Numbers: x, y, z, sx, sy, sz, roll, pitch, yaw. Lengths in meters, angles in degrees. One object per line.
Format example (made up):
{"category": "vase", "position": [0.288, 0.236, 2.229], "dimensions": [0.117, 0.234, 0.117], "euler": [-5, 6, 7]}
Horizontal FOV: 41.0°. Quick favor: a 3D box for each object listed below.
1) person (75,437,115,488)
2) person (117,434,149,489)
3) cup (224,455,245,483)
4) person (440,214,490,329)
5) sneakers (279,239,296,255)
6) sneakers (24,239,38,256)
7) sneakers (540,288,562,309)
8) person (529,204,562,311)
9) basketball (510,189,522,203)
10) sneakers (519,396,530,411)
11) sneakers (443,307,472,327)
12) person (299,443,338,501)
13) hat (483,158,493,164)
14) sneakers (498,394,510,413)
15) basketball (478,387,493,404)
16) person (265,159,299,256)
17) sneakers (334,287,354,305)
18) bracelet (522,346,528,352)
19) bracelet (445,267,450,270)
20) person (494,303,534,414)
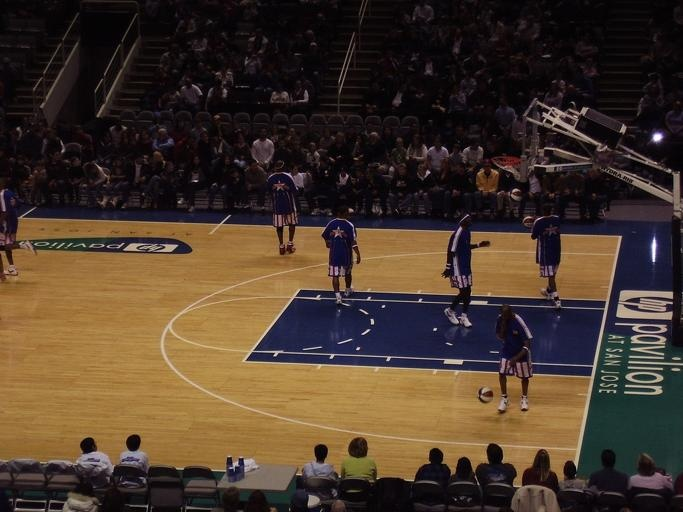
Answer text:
{"category": "person", "position": [-3.183, 2.770, 11.931], "dimensions": [0.447, 0.746, 0.604], "euler": [-12, -13, 11]}
{"category": "person", "position": [-2.703, 2.630, 11.869], "dimensions": [0.431, 0.758, 0.404], "euler": [6, 29, -6]}
{"category": "cup", "position": [-1.373, 2.743, 11.756], "dimensions": [0.294, 0.383, 0.271], "euler": [0, 7, 0]}
{"category": "person", "position": [2.283, 0.314, 17.224], "dimensions": [0.661, 2.079, 1.554], "euler": [2, 0, 9]}
{"category": "sneakers", "position": [-1.278, -0.184, 21.433], "dimensions": [0.179, 0.270, 0.526], "euler": [17, 27, 27]}
{"category": "sneakers", "position": [-6.982, -0.160, 20.559], "dimensions": [0.177, 0.226, 0.523], "euler": [33, -2, -30]}
{"category": "sneakers", "position": [4.169, 0.855, 18.141], "dimensions": [0.189, 0.251, 0.580], "euler": [-3, 28, -4]}
{"category": "person", "position": [4.087, 0.056, 18.108], "dimensions": [0.602, 1.967, 1.404], "euler": [2, 0, 13]}
{"category": "basketball", "position": [4.103, -1.437, 21.386], "dimensions": [0.309, 0.213, 0.414], "euler": [2, 28, -1]}
{"category": "sneakers", "position": [2.857, 2.316, 14.230], "dimensions": [0.096, 0.110, 0.265], "euler": [2, 23, 4]}
{"category": "sneakers", "position": [2.212, 1.226, 17.315], "dimensions": [0.610, 0.262, 0.224], "euler": [19, 46, -2]}
{"category": "person", "position": [-0.240, 2.779, 11.805], "dimensions": [0.497, 0.674, 0.736], "euler": [-1, 6, 22]}
{"category": "hat", "position": [3.812, -2.461, 23.664], "dimensions": [0.206, 0.166, 0.213], "euler": [-16, -3, -3]}
{"category": "sneakers", "position": [2.558, 2.329, 14.279], "dimensions": [0.116, 0.224, 0.328], "euler": [2, 15, 26]}
{"category": "basketball", "position": [2.220, 2.143, 14.002], "dimensions": [0.218, 0.222, 0.223], "euler": [11, 22, 14]}
{"category": "person", "position": [-1.394, -1.083, 21.503], "dimensions": [0.705, 2.178, 1.363], "euler": [2, 0, -4]}
{"category": "sneakers", "position": [0.060, 0.814, 18.520], "dimensions": [0.175, 0.246, 0.572], "euler": [5, 21, 18]}
{"category": "bracelet", "position": [2.798, 1.434, 13.897], "dimensions": [0.082, 0.082, 0.063], "euler": [2, 0, 9]}
{"category": "bracelet", "position": [2.010, 0.244, 17.244], "dimensions": [0.052, 0.039, 0.052], "euler": [3, 14, 4]}
{"category": "person", "position": [2.661, 1.616, 14.115], "dimensions": [0.556, 1.646, 0.879], "euler": [2, 0, 11]}
